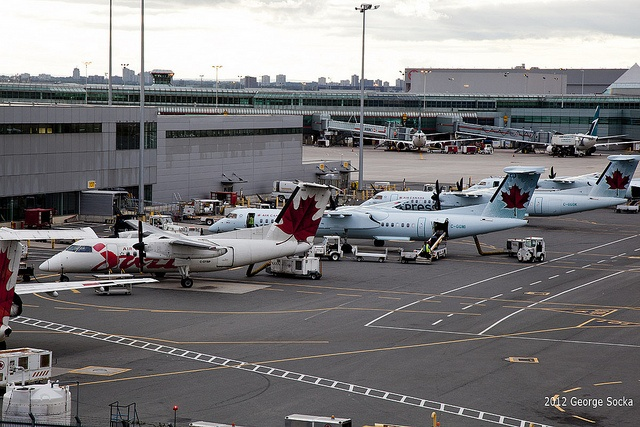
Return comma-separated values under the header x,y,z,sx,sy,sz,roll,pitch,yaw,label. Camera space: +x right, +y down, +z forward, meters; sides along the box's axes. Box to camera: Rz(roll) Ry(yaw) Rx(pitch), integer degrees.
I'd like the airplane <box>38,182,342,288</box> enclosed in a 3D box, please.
x,y,z,sx,sy,sz,roll,pitch,yaw,label
-11.702,2.262,88.543,26.460,5.938,21.823,-4,5,-11,airplane

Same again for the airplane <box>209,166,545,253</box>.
x,y,z,sx,sy,sz,roll,pitch,yaw,label
7.237,0.335,104.409,33.533,6.264,28.393,-4,3,23,airplane

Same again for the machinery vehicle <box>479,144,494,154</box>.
x,y,z,sx,sy,sz,roll,pitch,yaw,label
40.181,-15.257,226.734,2.854,1.386,3.387,0,6,4,machinery vehicle

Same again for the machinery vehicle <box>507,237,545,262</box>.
x,y,z,sx,sy,sz,roll,pitch,yaw,label
22.177,3.826,100.976,4.176,2.535,3.871,2,14,6,machinery vehicle

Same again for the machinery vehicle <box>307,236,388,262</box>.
x,y,z,sx,sy,sz,roll,pitch,yaw,label
3.800,3.877,100.796,10.194,2.042,2.704,2,1,3,machinery vehicle
